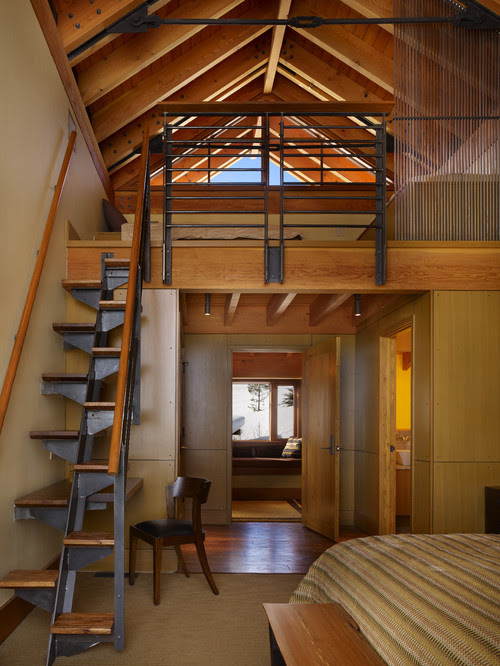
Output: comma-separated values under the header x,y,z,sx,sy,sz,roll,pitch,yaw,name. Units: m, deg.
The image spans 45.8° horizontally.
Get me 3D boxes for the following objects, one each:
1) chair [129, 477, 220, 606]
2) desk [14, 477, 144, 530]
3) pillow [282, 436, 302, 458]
x,y,z,sx,sy,sz,roll,pitch,yaw,name
-0.492,1.300,3.802,0.583,0.657,0.561,1,-6,0,chair
-0.990,0.997,3.466,0.564,0.182,1.008,1,-10,-5,desk
0.619,1.740,8.948,0.276,0.281,0.598,0,-10,2,pillow
